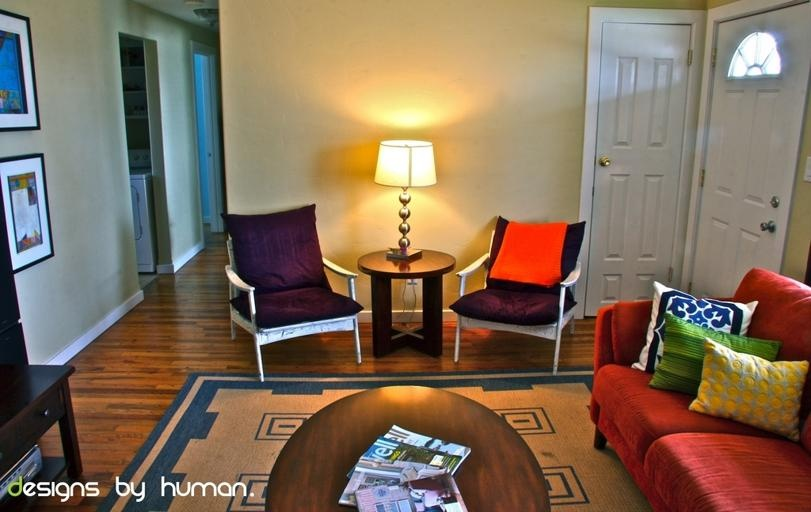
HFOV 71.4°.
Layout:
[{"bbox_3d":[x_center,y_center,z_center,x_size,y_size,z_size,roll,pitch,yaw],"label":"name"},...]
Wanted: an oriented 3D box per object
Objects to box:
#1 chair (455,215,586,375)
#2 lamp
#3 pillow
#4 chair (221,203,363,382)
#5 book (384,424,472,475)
[{"bbox_3d":[0.895,0.237,4.506,0.955,0.926,1.086,3,20,17],"label":"chair"},{"bbox_3d":[-0.012,-0.478,4.666,0.474,0.927,0.513,0,16,0],"label":"lamp"},{"bbox_3d":[1.777,0.603,3.114,0.751,0.716,0.225,17,-7,28],"label":"pillow"},{"bbox_3d":[-0.903,0.207,4.459,1.069,0.965,1.100,1,20,-8],"label":"chair"},{"bbox_3d":[0.118,1.002,2.897,0.261,0.033,0.191,16,25,27],"label":"book"}]
